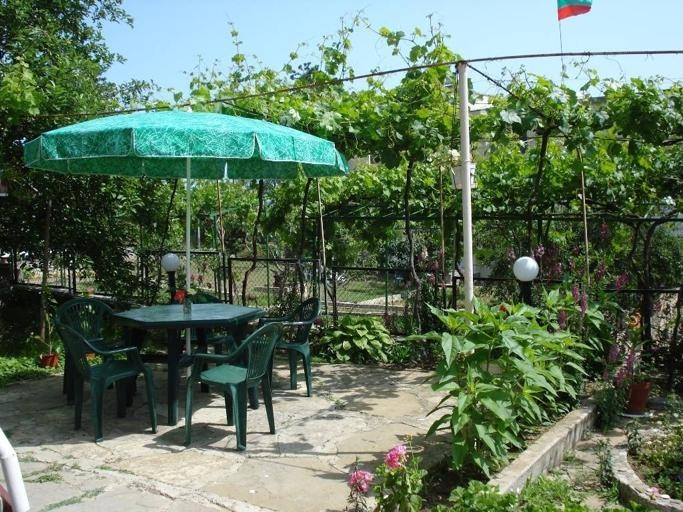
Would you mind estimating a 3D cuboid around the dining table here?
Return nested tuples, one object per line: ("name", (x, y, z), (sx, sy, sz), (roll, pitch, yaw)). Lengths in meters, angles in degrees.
("dining table", (-1.719, 1.063, 6.994), (1.404, 0.885, 1.240), (2, 1, 26))

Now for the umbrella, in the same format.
("umbrella", (-2.250, -1.055, 8.604), (3.586, 1.730, 5.309), (-4, 10, -26))

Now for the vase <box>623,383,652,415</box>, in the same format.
("vase", (3.259, 1.575, 6.977), (0.317, 0.289, 0.326), (16, -16, -7))

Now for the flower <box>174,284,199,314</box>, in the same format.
("flower", (-1.811, 0.482, 7.191), (0.331, 0.316, 0.284), (2, -4, -4))
